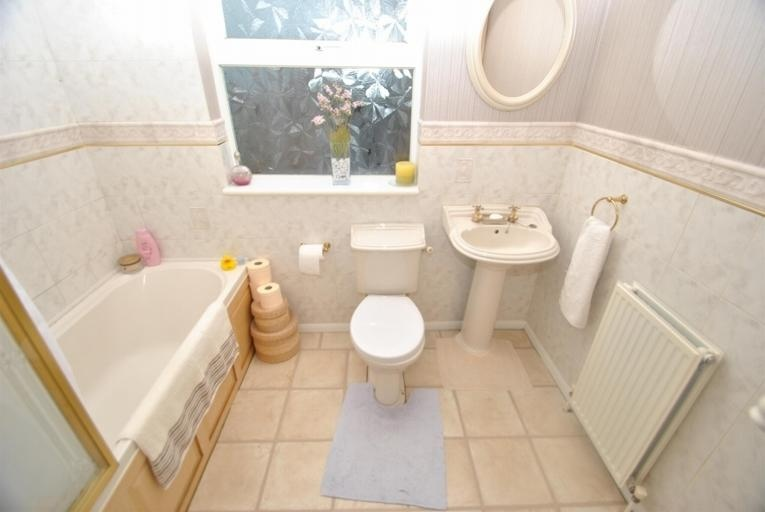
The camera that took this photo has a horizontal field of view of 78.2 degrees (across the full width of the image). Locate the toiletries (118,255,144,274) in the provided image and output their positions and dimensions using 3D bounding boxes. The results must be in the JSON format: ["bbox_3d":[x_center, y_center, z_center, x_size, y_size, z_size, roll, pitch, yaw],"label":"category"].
[{"bbox_3d":[-1.743,0.036,3.270,0.131,0.088,0.138,18,18,40],"label":"toiletries"}]

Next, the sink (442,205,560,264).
[{"bbox_3d":[0.766,-0.132,3.096,0.702,0.234,0.521,0,31,1],"label":"sink"}]

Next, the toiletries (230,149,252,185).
[{"bbox_3d":[-0.984,-0.608,3.284,0.131,0.243,0.099,-7,-9,1],"label":"toiletries"}]

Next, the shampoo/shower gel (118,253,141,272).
[{"bbox_3d":[-1.744,0.044,3.268,0.125,0.081,0.127,6,39,0],"label":"shampoo/shower gel"}]

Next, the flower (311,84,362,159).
[{"bbox_3d":[-0.342,-0.920,3.218,0.296,0.473,0.257,2,31,5],"label":"flower"}]

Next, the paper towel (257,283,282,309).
[{"bbox_3d":[-0.784,0.279,3.270,0.164,0.125,0.164,-4,39,-3],"label":"paper towel"}]

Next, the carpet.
[{"bbox_3d":[0.034,1.155,2.950,0.721,0.165,0.733,2,31,5],"label":"carpet"}]

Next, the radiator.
[{"bbox_3d":[1.414,0.680,2.483,0.112,1.025,0.723,6,33,-24],"label":"radiator"}]

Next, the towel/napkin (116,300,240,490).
[{"bbox_3d":[-1.178,0.830,2.734,0.226,0.508,0.959,1,40,10],"label":"towel/napkin"}]

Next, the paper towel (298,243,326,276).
[{"bbox_3d":[-0.495,0.009,3.294,0.191,0.193,0.105,3,40,2],"label":"paper towel"}]

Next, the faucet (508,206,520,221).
[{"bbox_3d":[0.887,-0.290,3.191,0.071,0.128,0.076,-3,41,15],"label":"faucet"}]

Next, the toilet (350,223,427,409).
[{"bbox_3d":[0.066,0.394,3.172,0.536,0.945,0.885,-2,31,0],"label":"toilet"}]
